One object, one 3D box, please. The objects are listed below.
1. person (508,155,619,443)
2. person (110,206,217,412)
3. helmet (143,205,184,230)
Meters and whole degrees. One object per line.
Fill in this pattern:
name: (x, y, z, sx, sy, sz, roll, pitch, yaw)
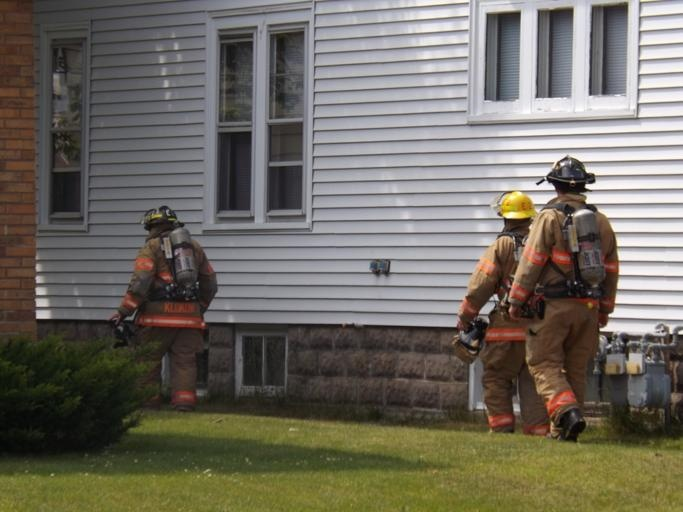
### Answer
person: (2.095, 0.378, 12.078, 0.891, 2.757, 0.673, 0, -5, 7)
person: (-2.016, 0.570, 14.055, 0.919, 2.289, 0.493, 1, -5, -10)
helmet: (-2.073, -0.479, 14.359, 0.384, 0.299, 0.286, -11, -5, 15)
